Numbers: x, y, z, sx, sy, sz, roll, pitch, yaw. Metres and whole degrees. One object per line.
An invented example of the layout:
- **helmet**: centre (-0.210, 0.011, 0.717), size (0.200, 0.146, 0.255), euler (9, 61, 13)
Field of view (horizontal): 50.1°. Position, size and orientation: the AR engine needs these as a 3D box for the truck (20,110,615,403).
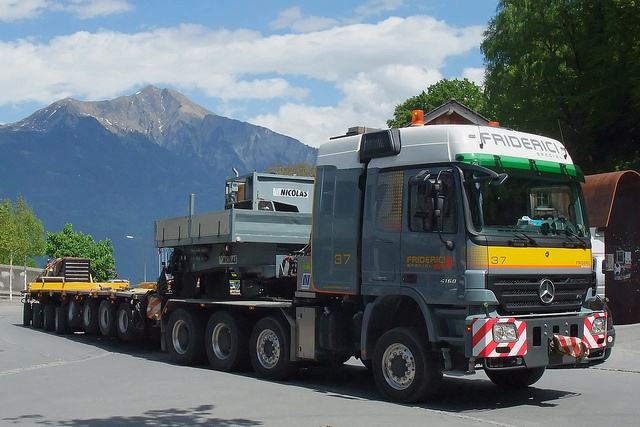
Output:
- **truck**: centre (-1.447, 1.073, 18.540), size (4.371, 4.734, 16.532), euler (0, -2, -34)
